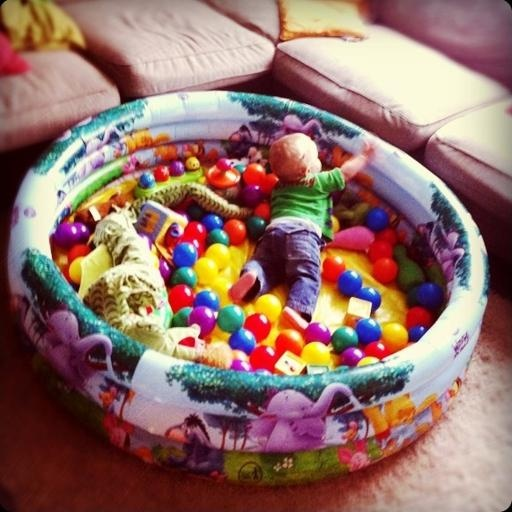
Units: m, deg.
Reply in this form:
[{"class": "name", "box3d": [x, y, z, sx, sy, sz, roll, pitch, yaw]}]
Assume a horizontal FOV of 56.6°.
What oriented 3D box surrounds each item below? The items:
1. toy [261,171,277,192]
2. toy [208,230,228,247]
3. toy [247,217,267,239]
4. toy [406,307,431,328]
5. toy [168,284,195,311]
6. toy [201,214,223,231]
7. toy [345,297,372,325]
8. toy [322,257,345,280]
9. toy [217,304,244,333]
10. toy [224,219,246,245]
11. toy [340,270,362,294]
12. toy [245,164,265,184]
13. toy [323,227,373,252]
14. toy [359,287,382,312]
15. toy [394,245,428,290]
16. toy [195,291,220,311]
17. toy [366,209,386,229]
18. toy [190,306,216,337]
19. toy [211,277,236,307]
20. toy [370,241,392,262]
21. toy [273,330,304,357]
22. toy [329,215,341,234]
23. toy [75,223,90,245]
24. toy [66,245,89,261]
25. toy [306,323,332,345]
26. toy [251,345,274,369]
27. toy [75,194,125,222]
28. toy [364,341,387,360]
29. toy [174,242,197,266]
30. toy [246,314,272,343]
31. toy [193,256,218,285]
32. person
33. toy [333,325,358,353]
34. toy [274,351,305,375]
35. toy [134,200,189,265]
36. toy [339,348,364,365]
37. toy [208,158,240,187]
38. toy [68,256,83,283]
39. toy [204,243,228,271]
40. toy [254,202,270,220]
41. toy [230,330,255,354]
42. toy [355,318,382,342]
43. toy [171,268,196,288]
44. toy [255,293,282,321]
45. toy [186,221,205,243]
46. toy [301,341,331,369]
[{"class": "toy", "box3d": [0.061, -0.348, 2.247, 0.068, 0.098, 0.076, -8, 40, -21]}, {"class": "toy", "box3d": [-0.162, -0.080, 2.013, 0.060, 0.081, 0.070, -1, 54, -19]}, {"class": "toy", "box3d": [-0.001, -0.128, 2.162, 0.076, 0.105, 0.094, -1, 67, -6]}, {"class": "toy", "box3d": [0.621, 0.235, 1.820, 0.070, 0.097, 0.080, 0, 51, -2]}, {"class": "toy", "box3d": [-0.273, 0.152, 1.792, 0.077, 0.105, 0.092, -3, 59, 4]}, {"class": "toy", "box3d": [-0.191, -0.150, 2.082, 0.063, 0.093, 0.072, -4, 23, 0]}, {"class": "toy", "box3d": [0.389, 0.205, 1.816, 0.084, 0.098, 0.095, 4, 46, 2]}, {"class": "toy", "box3d": [0.320, 0.051, 2.032, 0.078, 0.113, 0.089, -6, 34, -12]}, {"class": "toy", "box3d": [-0.089, 0.220, 1.721, 0.080, 0.114, 0.089, -5, 31, -11]}, {"class": "toy", "box3d": [-0.089, -0.108, 2.129, 0.090, 0.134, 0.099, -7, 11, -15]}, {"class": "toy", "box3d": [0.376, 0.106, 1.909, 0.076, 0.095, 0.101, -1, 32, 2]}, {"class": "toy", "box3d": [-0.010, -0.388, 2.315, 0.079, 0.107, 0.098, -11, 71, -14]}, {"class": "toy", "box3d": [0.423, -0.076, 2.163, 0.198, 0.105, 0.092, -6, 7, 11]}, {"class": "toy", "box3d": [0.450, 0.159, 1.904, 0.075, 0.094, 0.097, 6, 22, -2]}, {"class": "toy", "box3d": [0.661, 0.068, 2.042, 0.078, 0.083, 0.196, -22, 47, 10]}, {"class": "toy", "box3d": [-0.182, 0.163, 1.770, 0.064, 0.089, 0.076, 2, 47, 0]}, {"class": "toy", "box3d": [0.550, -0.169, 2.211, 0.077, 0.088, 0.110, 2, 72, -7]}, {"class": "toy", "box3d": [-0.183, 0.218, 1.697, 0.080, 0.112, 0.090, -5, 44, -3]}, {"class": "toy", "box3d": [-0.128, 0.145, 1.914, 0.083, 0.089, 0.114, -13, 60, 21]}, {"class": "toy", "box3d": [0.546, -0.024, 2.129, 0.074, 0.103, 0.086, -7, 48, -9]}, {"class": "toy", "box3d": [0.117, 0.302, 1.669, 0.075, 0.111, 0.087, 1, 39, 7]}, {"class": "toy", "box3d": [0.351, -0.144, 2.180, 0.061, 0.087, 0.071, -1, 42, 2]}, {"class": "toy", "box3d": [-0.683, -0.095, 1.883, 0.035, 0.079, 0.061, -11, 14, 15]}, {"class": "toy", "box3d": [-0.678, -0.020, 1.820, 0.057, 0.074, 0.076, 1, 5, 11]}, {"class": "toy", "box3d": [0.230, 0.278, 1.705, 0.067, 0.092, 0.081, -1, 56, 6]}, {"class": "toy", "box3d": [0.023, 0.345, 1.650, 0.064, 0.089, 0.076, -2, 51, -4]}, {"class": "toy", "box3d": [-0.664, -0.236, 2.036, 0.166, 0.114, 0.051, -33, 61, -32]}, {"class": "toy", "box3d": [0.418, 0.329, 1.665, 0.052, 0.074, 0.058, 17, 6, 6]}, {"class": "toy", "box3d": [-0.280, -0.012, 1.917, 0.076, 0.113, 0.087, -4, 30, -11]}, {"class": "toy", "box3d": [0.009, 0.250, 1.753, 0.079, 0.110, 0.095, -6, 54, -3]}, {"class": "toy", "box3d": [-0.195, 0.058, 1.869, 0.081, 0.117, 0.093, -3, 34, -6]}, {"class": "person", "box3d": [0.164, -0.164, 2.007, 0.446, 0.418, 0.930, 5, 54, 19]}, {"class": "toy", "box3d": [0.322, 0.299, 1.760, 0.075, 0.101, 0.093, -2, 67, -4]}, {"class": "toy", "box3d": [0.115, 0.356, 1.575, 0.061, 0.045, 0.067, 24, 43, 10]}, {"class": "toy", "box3d": [-0.390, -0.139, 1.978, 0.209, 0.225, 0.220, 29, 18, -13]}, {"class": "toy", "box3d": [0.328, 0.344, 1.633, 0.053, 0.072, 0.062, -9, 57, -3]}, {"class": "toy", "box3d": [-0.147, -0.362, 2.139, 0.121, 0.100, 0.140, -2, 39, -10]}, {"class": "toy", "box3d": [-0.656, 0.050, 1.741, 0.049, 0.052, 0.059, 38, 23, 3]}, {"class": "toy", "box3d": [-0.156, -0.014, 1.986, 0.083, 0.117, 0.092, -10, 35, -16]}, {"class": "toy", "box3d": [0.031, -0.210, 2.178, 0.062, 0.087, 0.073, 1, 44, 9]}, {"class": "toy", "box3d": [-0.045, 0.289, 1.626, 0.067, 0.091, 0.083, 1, 64, -1]}, {"class": "toy", "box3d": [0.408, 0.274, 1.743, 0.073, 0.107, 0.082, 1, 4, -9]}, {"class": "toy", "box3d": [-0.276, 0.080, 1.819, 0.067, 0.091, 0.081, -7, 61, -9]}, {"class": "toy", "box3d": [0.050, 0.187, 1.831, 0.081, 0.115, 0.095, 2, 41, -10]}, {"class": "toy", "box3d": [-0.253, -0.106, 2.006, 0.067, 0.084, 0.080, -21, 89, -1]}, {"class": "toy", "box3d": [0.207, 0.336, 1.618, 0.070, 0.084, 0.097, -7, 52, 1]}]
